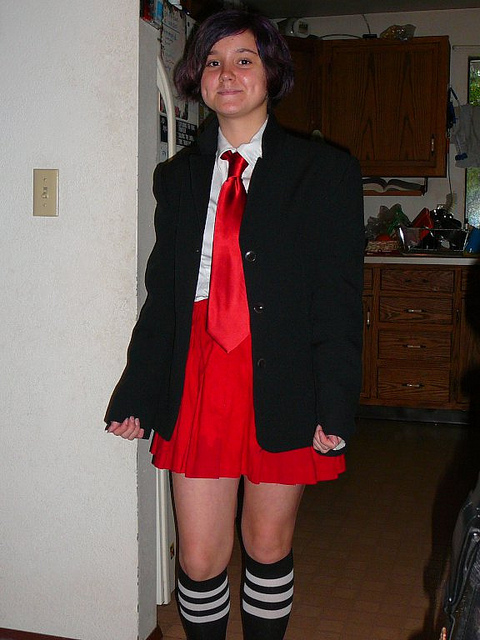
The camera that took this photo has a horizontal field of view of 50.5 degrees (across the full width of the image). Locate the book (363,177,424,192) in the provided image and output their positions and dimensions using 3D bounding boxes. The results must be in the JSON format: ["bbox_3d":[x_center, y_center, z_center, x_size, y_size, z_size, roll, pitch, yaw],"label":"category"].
[{"bbox_3d":[1.182,-1.047,3.932,0.444,0.113,0.103,0,4,1],"label":"book"}]

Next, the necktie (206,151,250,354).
[{"bbox_3d":[-0.018,-0.114,0.810,0.065,0.316,0.081,0,4,-2],"label":"necktie"}]

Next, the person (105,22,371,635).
[{"bbox_3d":[-0.005,0.050,0.876,0.424,1.078,0.199,2,4,25],"label":"person"}]
